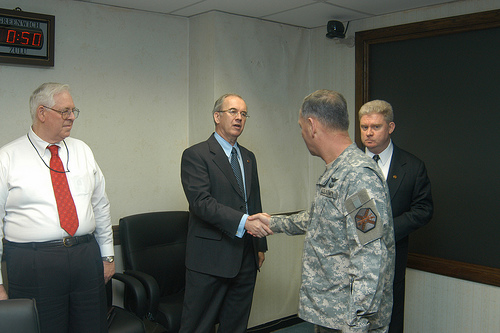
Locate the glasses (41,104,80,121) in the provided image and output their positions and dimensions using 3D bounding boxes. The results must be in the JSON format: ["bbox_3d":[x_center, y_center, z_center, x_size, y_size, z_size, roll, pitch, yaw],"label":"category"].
[{"bbox_3d":[-1.344,-0.380,2.935,0.156,0.051,0.153,3,1,31],"label":"glasses"}]

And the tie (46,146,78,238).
[{"bbox_3d":[-1.285,0.189,2.871,0.137,0.696,0.080,-8,-19,-28],"label":"tie"}]

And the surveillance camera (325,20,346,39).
[{"bbox_3d":[0.851,-1.367,4.180,0.157,0.204,0.204,9,16,42],"label":"surveillance camera"}]
